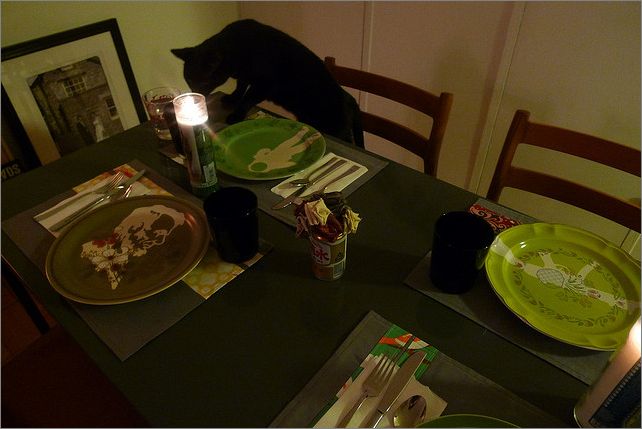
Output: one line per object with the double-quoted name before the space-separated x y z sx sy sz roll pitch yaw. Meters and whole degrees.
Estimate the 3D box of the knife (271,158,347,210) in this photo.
"knife" -0.026 -0.134 1.267 0.091 0.026 0.312 29 51 27

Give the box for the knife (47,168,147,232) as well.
"knife" -0.652 -0.036 1.246 0.031 0.021 0.276 27 52 28

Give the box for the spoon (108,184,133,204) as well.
"spoon" -0.598 -0.060 1.268 0.013 0.011 0.079 35 54 8

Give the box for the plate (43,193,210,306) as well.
"plate" -0.506 0.096 1.140 0.308 0.034 0.304 -23 53 -25

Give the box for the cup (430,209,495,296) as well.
"cup" 0.336 0.065 1.088 0.131 0.151 0.206 20 47 25
